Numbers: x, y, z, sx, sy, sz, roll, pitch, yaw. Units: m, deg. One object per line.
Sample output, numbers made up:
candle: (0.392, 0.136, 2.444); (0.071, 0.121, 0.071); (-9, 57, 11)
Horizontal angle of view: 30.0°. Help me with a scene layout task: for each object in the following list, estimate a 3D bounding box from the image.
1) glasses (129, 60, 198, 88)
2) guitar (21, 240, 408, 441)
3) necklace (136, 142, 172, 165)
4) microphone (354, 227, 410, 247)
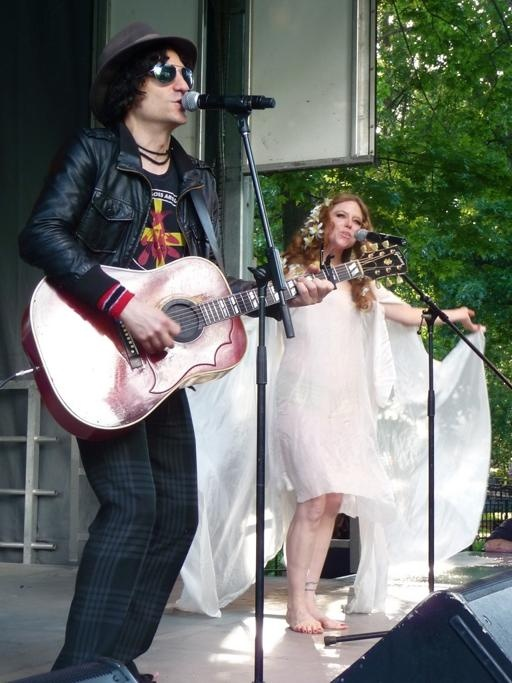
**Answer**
glasses: (-0.230, -0.729, 2.588); (0.100, 0.031, 0.078); (-1, 0, 36)
guitar: (-0.271, 0.003, 2.506); (0.645, 0.474, 0.277); (0, 5, -37)
necklace: (-0.274, -0.514, 2.608); (0.063, 0.047, 0.016); (28, -47, -12)
microphone: (0.419, -0.346, 3.200); (0.057, 0.057, 0.200); (-44, 32, -26)
